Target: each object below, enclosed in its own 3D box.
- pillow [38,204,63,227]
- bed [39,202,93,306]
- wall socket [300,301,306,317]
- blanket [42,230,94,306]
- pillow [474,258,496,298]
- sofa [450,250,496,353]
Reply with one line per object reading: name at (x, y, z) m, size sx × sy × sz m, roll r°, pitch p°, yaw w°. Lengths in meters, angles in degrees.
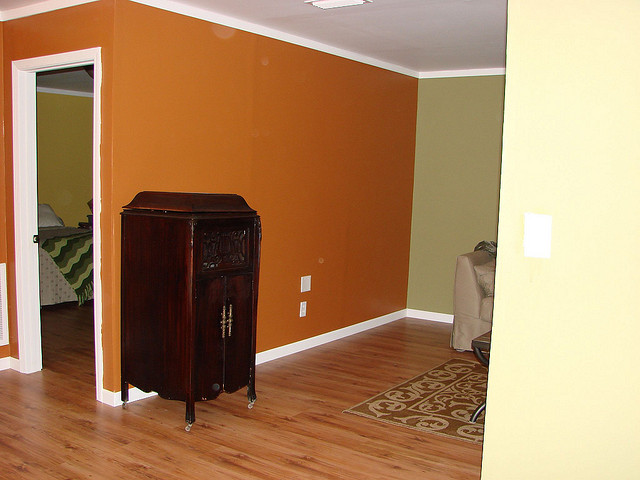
pillow at (-3.860, -0.347, 7.805) m, size 0.303 × 0.305 × 0.372 m, roll -1°, pitch 8°, yaw -26°
bed at (-3.474, 0.139, 7.408) m, size 0.608 × 1.144 × 2.217 m, roll -1°, pitch 8°, yaw -27°
wall socket at (-0.163, 0.693, 5.391) m, size 0.005 × 0.150 × 0.089 m, roll 7°, pitch 9°, yaw 38°
blanket at (-3.052, 0.372, 6.582) m, size 0.196 × 0.723 × 0.713 m, roll -22°, pitch 1°, yaw 34°
pillow at (1.597, 0.385, 5.268) m, size 0.116 × 0.394 × 0.385 m, roll -20°, pitch -3°, yaw 27°
sofa at (1.703, 0.762, 5.934) m, size 0.497 × 0.832 × 0.840 m, roll 12°, pitch -7°, yaw 30°
